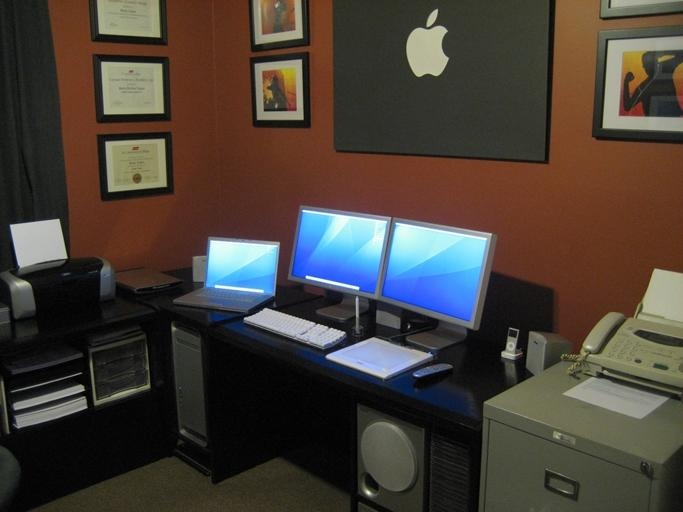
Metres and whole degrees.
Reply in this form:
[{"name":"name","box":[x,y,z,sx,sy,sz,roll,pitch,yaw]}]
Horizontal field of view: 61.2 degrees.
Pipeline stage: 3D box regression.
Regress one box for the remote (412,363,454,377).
[{"name":"remote","box":[0.374,0.465,2.364,0.136,0.025,0.064,-9,13,-35]}]

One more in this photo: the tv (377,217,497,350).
[{"name":"tv","box":[0.458,0.135,2.671,0.451,0.474,0.224,13,16,43]}]

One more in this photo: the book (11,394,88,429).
[{"name":"book","box":[-1.526,0.796,2.960,0.184,0.049,0.182,-8,6,-42]}]

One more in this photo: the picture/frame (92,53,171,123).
[{"name":"picture/frame","box":[-1.334,-1.041,3.572,0.388,0.370,0.029,-13,17,-39]}]

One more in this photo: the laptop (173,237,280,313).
[{"name":"laptop","box":[-0.625,0.082,3.154,0.519,0.316,0.503,2,7,2]}]

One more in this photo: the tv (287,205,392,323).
[{"name":"tv","box":[0.004,0.045,2.996,0.467,0.489,0.201,13,12,39]}]

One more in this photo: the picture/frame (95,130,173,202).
[{"name":"picture/frame","box":[-1.345,-0.578,3.648,0.386,0.374,0.029,-12,18,-41]}]

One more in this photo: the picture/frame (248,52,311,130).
[{"name":"picture/frame","box":[-0.367,-1.006,3.499,0.421,0.415,0.032,13,20,40]}]
